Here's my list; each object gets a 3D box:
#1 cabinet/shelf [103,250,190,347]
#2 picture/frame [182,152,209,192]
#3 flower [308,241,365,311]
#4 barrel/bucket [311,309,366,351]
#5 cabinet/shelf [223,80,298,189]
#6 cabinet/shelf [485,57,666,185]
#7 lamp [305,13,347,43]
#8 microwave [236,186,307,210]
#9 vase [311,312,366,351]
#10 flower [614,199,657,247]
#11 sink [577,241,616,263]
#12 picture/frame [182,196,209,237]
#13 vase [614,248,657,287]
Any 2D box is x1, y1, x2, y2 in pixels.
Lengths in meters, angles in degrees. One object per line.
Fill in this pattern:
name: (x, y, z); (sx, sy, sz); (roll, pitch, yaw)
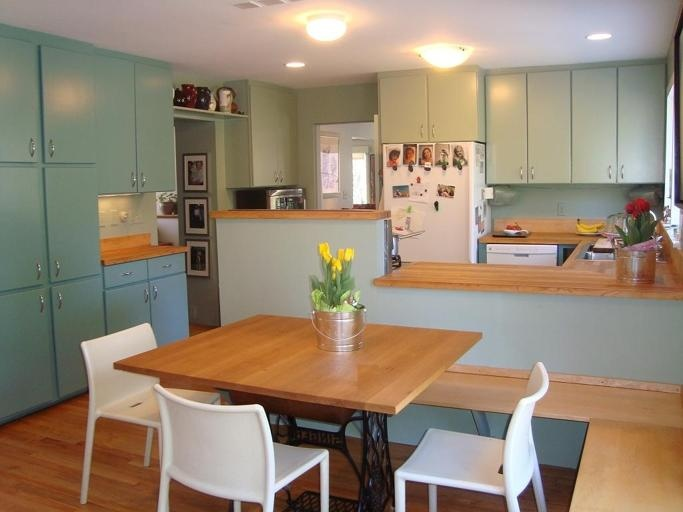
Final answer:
cabinet/shelf: (-1.660, 0.332, 4.232); (0.319, 0.835, 0.819); (0, 3, 32)
picture/frame: (-1.658, -0.973, 5.776); (0.437, 0.582, 0.041); (2, 5, 22)
flower: (-0.066, 0.088, 2.465); (0.292, 0.435, 0.267); (-3, 3, -12)
barrel/bucket: (-0.009, 0.294, 2.287); (0.207, 0.159, 0.189); (0, 7, 0)
cabinet/shelf: (-0.895, -1.414, 5.908); (0.355, 1.154, 0.971); (7, 14, 44)
cabinet/shelf: (2.489, -1.444, 5.229); (1.190, 0.763, 0.431); (1, 5, 18)
lamp: (-0.108, -1.613, 3.564); (0.293, 0.130, 0.236); (-2, 10, 3)
microwave: (-0.821, -0.684, 5.890); (0.845, 0.285, 0.422); (-5, 10, -14)
vase: (-0.009, 0.309, 2.360); (0.200, 0.155, 0.183); (0, 7, 1)
flower: (1.745, -0.201, 2.984); (0.195, 0.258, 0.387); (4, 12, 32)
sink: (2.231, -0.040, 4.434); (0.214, 0.079, 0.340); (0, 9, 12)
picture/frame: (-1.670, -0.466, 5.818); (0.335, 0.416, 0.020); (3, 7, 21)
vase: (1.647, 0.047, 2.862); (0.197, 0.206, 0.205); (2, 6, 17)
